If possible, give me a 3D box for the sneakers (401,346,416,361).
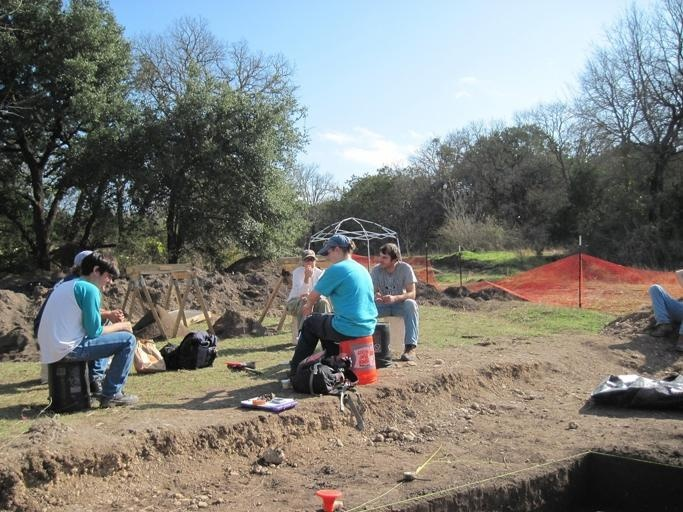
[{"bbox_3d":[1.156,1.680,11.693,0.243,0.207,0.411,0,8,5],"label":"sneakers"}]

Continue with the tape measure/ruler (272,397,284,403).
[{"bbox_3d":[-0.927,2.104,9.842,0.164,0.022,0.317,-1,8,-2],"label":"tape measure/ruler"}]

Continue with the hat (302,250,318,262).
[{"bbox_3d":[-0.641,0.009,13.334,0.341,0.255,0.463,2,-10,-3],"label":"hat"}]

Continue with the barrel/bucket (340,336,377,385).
[{"bbox_3d":[0.301,1.608,10.414,0.716,0.787,0.499,-4,-1,3],"label":"barrel/bucket"}]

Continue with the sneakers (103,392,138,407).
[{"bbox_3d":[-3.210,2.112,9.826,0.470,0.230,0.178,-3,3,-20],"label":"sneakers"}]

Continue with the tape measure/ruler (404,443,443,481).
[{"bbox_3d":[1.145,2.859,9.330,0.175,0.113,1.273,-1,0,27],"label":"tape measure/ruler"}]

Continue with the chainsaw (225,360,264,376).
[{"bbox_3d":[-1.596,1.865,11.249,0.718,0.116,0.285,3,9,24],"label":"chainsaw"}]

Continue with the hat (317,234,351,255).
[{"bbox_3d":[-0.086,-0.172,10.635,0.433,0.258,0.290,-1,-1,5],"label":"hat"}]

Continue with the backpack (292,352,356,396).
[{"bbox_3d":[-0.279,1.794,10.146,0.715,0.430,0.622,-1,-2,0],"label":"backpack"}]

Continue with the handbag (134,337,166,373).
[{"bbox_3d":[-3.232,1.695,11.370,0.479,0.652,0.385,10,-52,-30],"label":"handbag"}]
